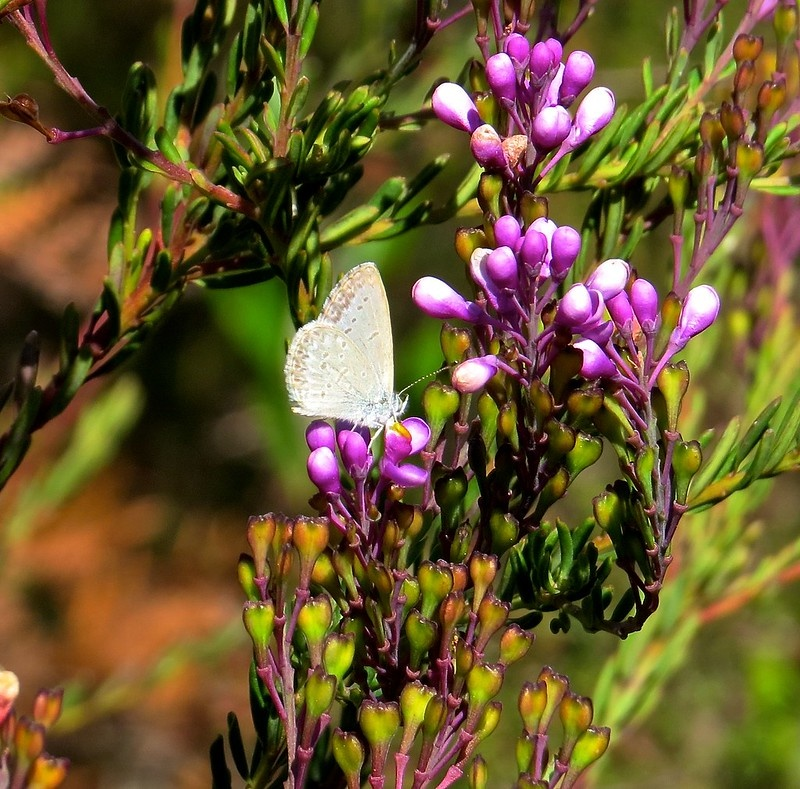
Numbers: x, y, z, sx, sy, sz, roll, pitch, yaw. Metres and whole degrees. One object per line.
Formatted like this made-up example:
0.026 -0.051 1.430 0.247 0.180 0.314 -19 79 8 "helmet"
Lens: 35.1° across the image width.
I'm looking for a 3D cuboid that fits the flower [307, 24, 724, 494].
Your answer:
0.127 -0.257 1.683 0.404 0.892 0.491 -1 17 1 "flower"
